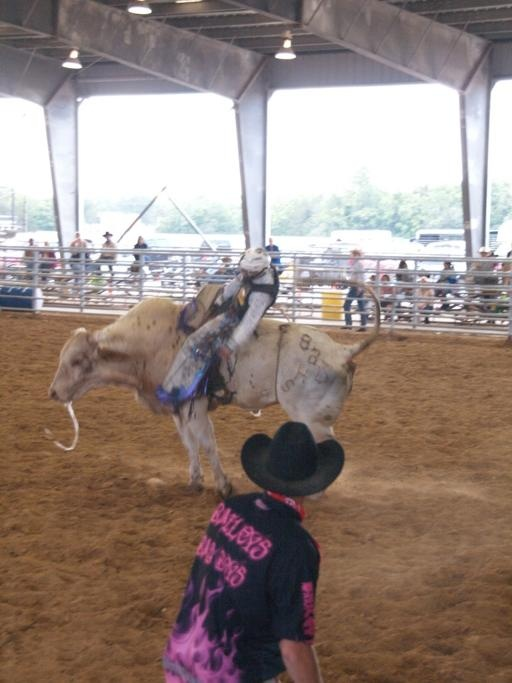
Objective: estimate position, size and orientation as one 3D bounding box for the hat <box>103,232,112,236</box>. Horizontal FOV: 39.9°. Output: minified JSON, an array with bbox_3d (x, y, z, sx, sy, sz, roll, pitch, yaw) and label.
[{"bbox_3d":[-3.086,-2.247,14.726,0.152,0.069,0.200,-4,-6,16],"label":"hat"}]

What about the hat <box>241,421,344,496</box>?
[{"bbox_3d":[0.102,0.333,2.037,0.295,0.224,0.283,2,9,5],"label":"hat"}]

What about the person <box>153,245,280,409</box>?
[{"bbox_3d":[-0.220,-0.001,3.783,0.641,0.815,0.250,2,10,0],"label":"person"}]
